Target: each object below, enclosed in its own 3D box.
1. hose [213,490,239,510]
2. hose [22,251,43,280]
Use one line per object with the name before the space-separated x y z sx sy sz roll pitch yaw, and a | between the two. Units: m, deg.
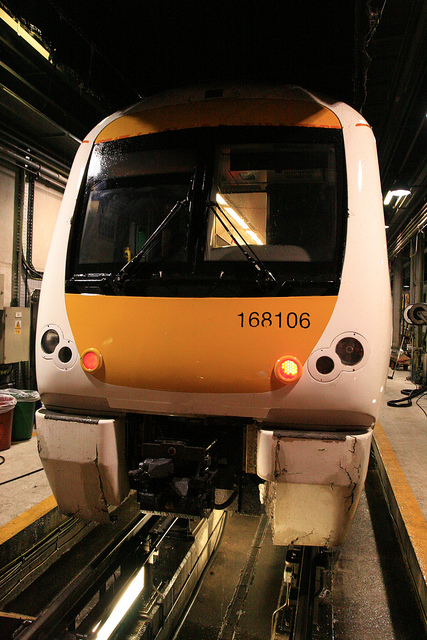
hose | 0.069 0.877 2.367 0.102 0.078 0.171 -4 2 16
hose | -2.860 -0.851 7.772 0.200 0.380 0.490 -3 2 3
